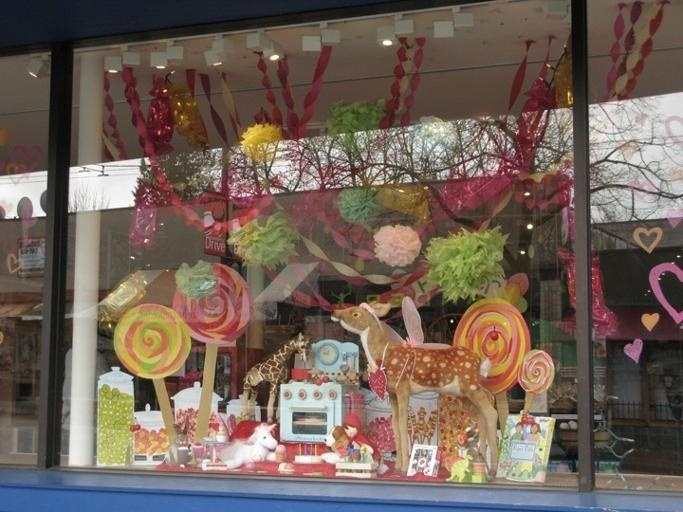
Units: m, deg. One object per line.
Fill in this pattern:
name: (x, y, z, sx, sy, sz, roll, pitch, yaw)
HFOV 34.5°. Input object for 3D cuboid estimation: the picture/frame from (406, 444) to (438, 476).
picture/frame: (0.520, 1.328, 7.163, 0.172, 0.205, 0.073, 3, -28, 14)

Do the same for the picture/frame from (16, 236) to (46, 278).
picture/frame: (-2.243, 0.001, 7.916, 0.265, 0.308, 0.042, -4, -10, 24)

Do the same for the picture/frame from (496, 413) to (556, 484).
picture/frame: (1.170, 1.212, 7.076, 0.300, 0.448, 0.149, 6, 20, 16)
